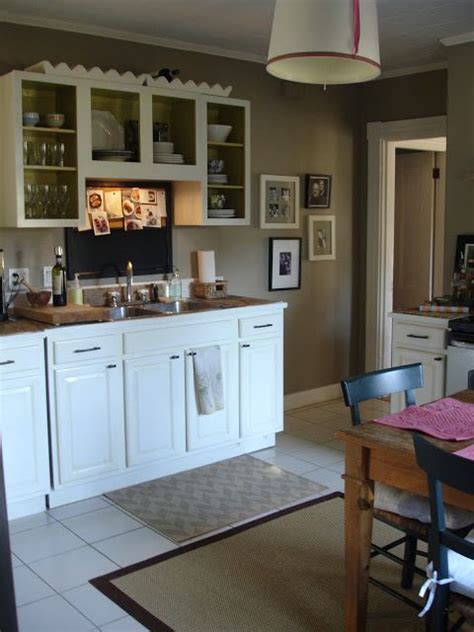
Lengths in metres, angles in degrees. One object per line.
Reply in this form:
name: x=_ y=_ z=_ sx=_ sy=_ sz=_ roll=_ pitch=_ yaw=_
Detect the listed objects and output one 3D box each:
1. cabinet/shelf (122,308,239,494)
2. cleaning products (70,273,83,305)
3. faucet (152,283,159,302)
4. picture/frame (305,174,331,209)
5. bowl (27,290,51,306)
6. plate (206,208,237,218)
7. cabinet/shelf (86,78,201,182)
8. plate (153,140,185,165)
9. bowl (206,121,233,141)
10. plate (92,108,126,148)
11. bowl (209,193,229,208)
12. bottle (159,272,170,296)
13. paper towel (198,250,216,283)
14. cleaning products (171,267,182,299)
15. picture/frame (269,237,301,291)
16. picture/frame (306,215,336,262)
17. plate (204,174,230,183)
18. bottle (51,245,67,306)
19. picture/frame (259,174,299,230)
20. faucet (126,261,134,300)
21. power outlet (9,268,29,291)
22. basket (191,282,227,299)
cabinet/shelf: x=-0.323 y=0.626 z=3.510 sx=0.917 sy=0.959 sz=0.455 roll=-10 pitch=-26 yaw=4
cleaning products: x=-1.107 y=-0.185 z=3.404 sx=0.083 sy=0.197 sz=0.299 roll=-3 pitch=8 yaw=-19
faucet: x=-0.625 y=-0.175 z=3.822 sx=0.046 sy=0.138 sz=0.073 roll=3 pitch=8 yaw=24
picture/frame: x=0.754 y=-1.196 z=4.711 sx=0.320 sy=0.323 sz=0.032 roll=-6 pitch=7 yaw=-39
bowl: x=-1.267 y=-0.111 z=3.184 sx=0.111 sy=0.075 sz=0.111 roll=2 pitch=3 yaw=0
plate: x=-0.120 y=-0.804 z=3.876 sx=0.090 sy=0.080 sz=0.283 roll=5 pitch=9 yaw=35
cabinet/shelf: x=-0.670 y=-1.320 z=3.460 sx=0.848 sy=0.533 sz=0.262 roll=-7 pitch=24 yaw=-29
plate: x=-0.498 y=-1.145 z=3.525 sx=0.199 sy=0.089 sz=0.164 roll=5 pitch=10 yaw=40
bowl: x=-0.134 y=-1.414 z=3.806 sx=0.145 sy=0.079 sz=0.149 roll=-2 pitch=10 yaw=0
plate: x=-0.897 y=-1.278 z=3.423 sx=0.250 sy=0.270 sz=0.058 roll=-7 pitch=9 yaw=-40
bowl: x=-0.147 y=-0.906 z=3.914 sx=0.130 sy=0.096 sz=0.119 roll=-2 pitch=7 yaw=0
bottle: x=-0.578 y=-0.245 z=3.924 sx=0.090 sy=0.181 sz=0.088 roll=-1 pitch=7 yaw=0
paper towel: x=-0.250 y=-0.397 z=3.990 sx=0.132 sy=0.250 sz=0.165 roll=-2 pitch=7 yaw=-9
cleaning products: x=-0.491 y=-0.260 z=3.946 sx=0.087 sy=0.246 sz=0.161 roll=-1 pitch=7 yaw=-8
picture/frame: x=0.423 y=-0.495 z=4.549 sx=0.440 sy=0.572 sz=0.038 roll=-7 pitch=9 yaw=-43
picture/frame: x=0.826 y=-0.759 z=4.815 sx=0.303 sy=0.421 sz=0.031 roll=7 pitch=13 yaw=44
plate: x=-0.150 y=-1.056 z=3.836 sx=0.061 sy=0.075 sz=0.188 roll=6 pitch=10 yaw=40
bottle: x=-1.164 y=-0.254 z=3.221 sx=0.081 sy=0.380 sz=0.130 roll=-4 pitch=8 yaw=-28
picture/frame: x=0.360 y=-1.034 z=4.439 sx=0.483 sy=0.572 sz=0.037 roll=-5 pitch=6 yaw=-41
faucet: x=-0.807 y=-0.255 z=3.701 sx=0.057 sy=0.305 sz=0.184 roll=-2 pitch=7 yaw=-12
power outlet: x=-1.446 y=-0.247 z=3.264 sx=0.129 sy=0.145 sz=0.015 roll=-10 pitch=21 yaw=-40
basket: x=-0.241 y=-0.194 z=3.996 sx=0.145 sy=0.098 sz=0.205 roll=-2 pitch=2 yaw=-31
